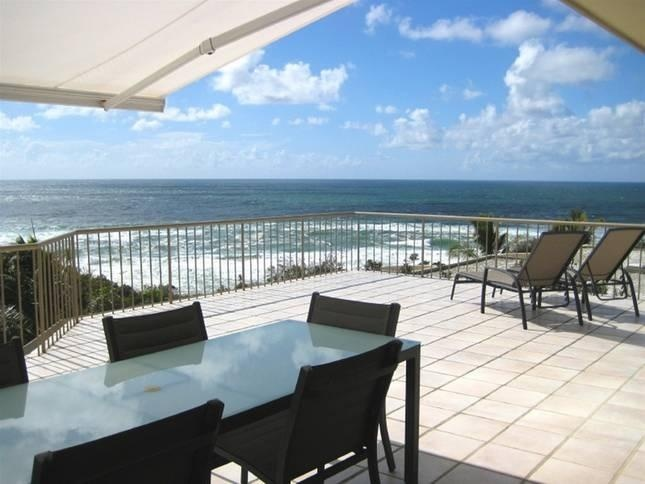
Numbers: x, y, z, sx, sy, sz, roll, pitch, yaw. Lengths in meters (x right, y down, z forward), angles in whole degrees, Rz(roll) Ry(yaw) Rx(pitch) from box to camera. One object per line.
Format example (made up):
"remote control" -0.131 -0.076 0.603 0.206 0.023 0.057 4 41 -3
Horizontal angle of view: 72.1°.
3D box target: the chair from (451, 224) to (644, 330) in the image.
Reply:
"chair" 3.324 0.394 6.120 2.240 1.217 1.122 -2 7 -13
